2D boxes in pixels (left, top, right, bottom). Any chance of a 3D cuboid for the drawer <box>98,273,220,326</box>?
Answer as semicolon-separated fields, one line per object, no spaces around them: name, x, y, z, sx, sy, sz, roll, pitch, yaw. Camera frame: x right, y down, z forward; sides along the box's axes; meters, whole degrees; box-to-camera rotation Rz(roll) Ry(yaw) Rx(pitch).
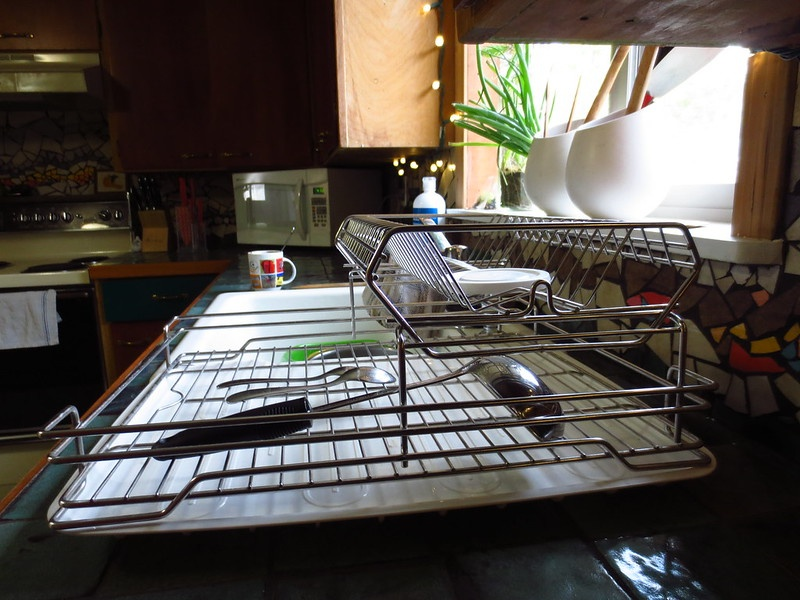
drawer;-1.062;-0.012;2.167;0.374;0.142;0.239;-1;5;-14

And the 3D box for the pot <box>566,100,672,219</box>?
pot;0.262;-0.189;0.722;0.182;0.150;0.126;1;20;12

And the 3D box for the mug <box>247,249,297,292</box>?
mug;-0.364;-0.084;1.477;0.188;0.127;0.111;-2;10;-25

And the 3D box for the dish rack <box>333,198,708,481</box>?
dish rack;0.102;-0.001;0.755;0.442;0.244;0.552;-5;12;-6

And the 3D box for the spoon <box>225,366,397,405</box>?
spoon;-0.087;0.104;0.686;0.267;0.020;0.074;-6;10;-10

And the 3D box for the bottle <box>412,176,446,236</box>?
bottle;0.086;-0.271;1.447;0.095;0.140;0.086;1;19;0

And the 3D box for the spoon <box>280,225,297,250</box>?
spoon;-0.514;-0.300;2.395;0.061;0.088;0.108;-6;14;-12
